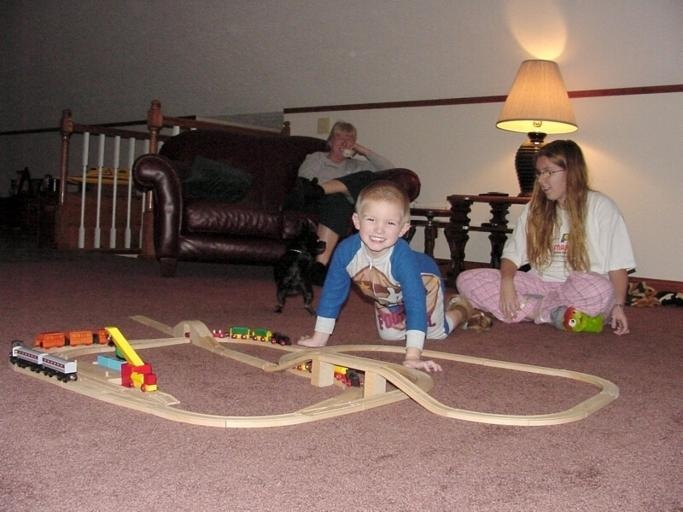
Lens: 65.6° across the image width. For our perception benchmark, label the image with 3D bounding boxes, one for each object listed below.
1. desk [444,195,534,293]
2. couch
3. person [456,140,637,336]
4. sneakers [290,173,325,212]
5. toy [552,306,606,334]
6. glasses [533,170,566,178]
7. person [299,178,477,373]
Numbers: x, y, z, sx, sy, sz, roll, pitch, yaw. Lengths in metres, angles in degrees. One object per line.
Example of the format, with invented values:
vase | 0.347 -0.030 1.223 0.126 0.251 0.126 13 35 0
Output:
desk | 0.962 -0.131 3.769 0.554 0.580 0.657 7 7 1
couch | -0.477 -0.309 3.204 1.245 0.552 0.563 3 13 -15
person | 0.989 -0.088 2.467 0.615 0.793 0.809 -14 12 -33
sneakers | -0.196 -0.418 3.294 0.150 0.073 0.187 -17 40 -2
toy | 1.058 0.281 2.316 0.239 0.072 0.108 3 3 -9
glasses | 0.929 -0.367 2.391 0.121 0.038 0.047 5 3 44
person | 0.191 0.045 1.919 0.499 0.555 0.787 1 6 27
